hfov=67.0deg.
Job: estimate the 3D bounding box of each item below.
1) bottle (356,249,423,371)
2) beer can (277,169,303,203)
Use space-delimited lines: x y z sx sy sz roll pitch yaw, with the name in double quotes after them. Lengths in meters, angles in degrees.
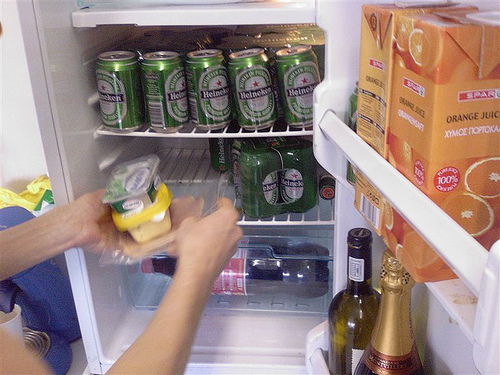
0.278 0.243 0.726 0.105 0.275 0.067 1 23 14 "bottle"
0.126 -0.013 1.329 0.102 0.151 0.093 -2 28 3 "beer can"
